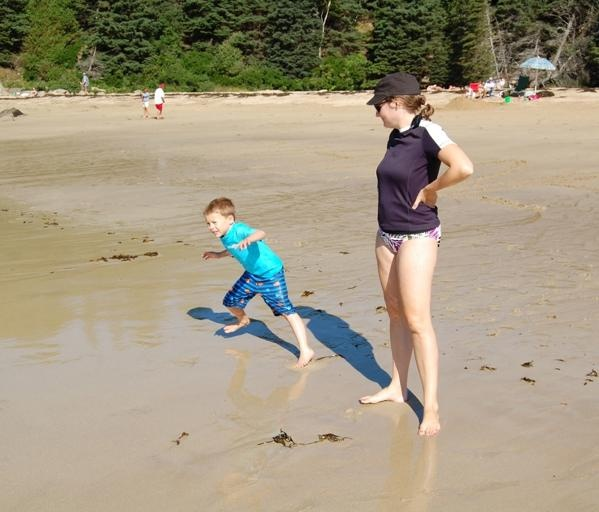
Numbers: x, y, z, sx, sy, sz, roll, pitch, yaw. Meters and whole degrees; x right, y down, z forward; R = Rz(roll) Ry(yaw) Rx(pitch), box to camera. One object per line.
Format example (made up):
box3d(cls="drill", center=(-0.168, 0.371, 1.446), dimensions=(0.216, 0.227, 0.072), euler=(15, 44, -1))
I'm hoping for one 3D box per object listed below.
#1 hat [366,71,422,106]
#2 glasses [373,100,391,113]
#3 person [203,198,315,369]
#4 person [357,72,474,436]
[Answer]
box3d(cls="hat", center=(0.563, -0.991, 3.661), dimensions=(0.346, 0.124, 0.210), euler=(-4, 11, 9))
box3d(cls="glasses", center=(0.492, -0.906, 3.689), dimensions=(0.089, 0.068, 0.026), euler=(-16, 27, -39))
box3d(cls="person", center=(-0.398, 0.298, 5.999), dimensions=(0.820, 1.457, 1.575), euler=(-24, 33, -25))
box3d(cls="person", center=(0.702, 0.005, 3.774), dimensions=(0.409, 2.222, 0.671), euler=(-8, 17, -27))
